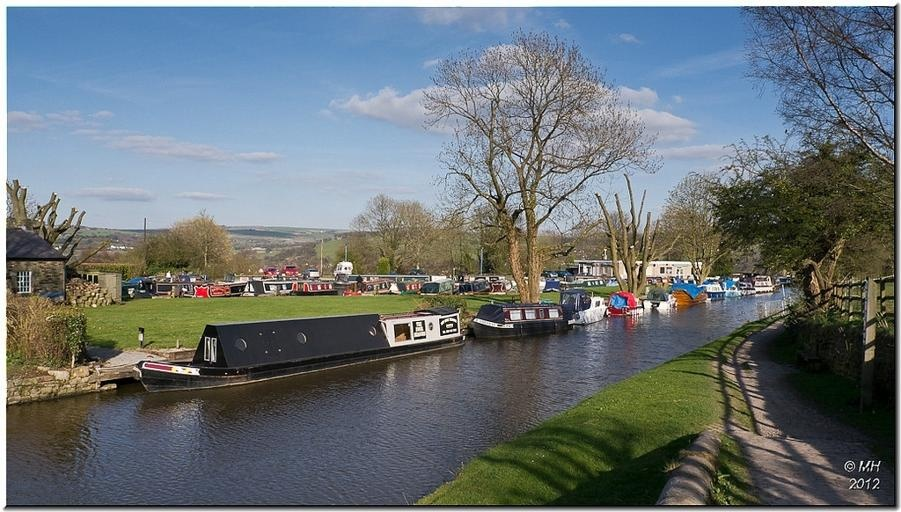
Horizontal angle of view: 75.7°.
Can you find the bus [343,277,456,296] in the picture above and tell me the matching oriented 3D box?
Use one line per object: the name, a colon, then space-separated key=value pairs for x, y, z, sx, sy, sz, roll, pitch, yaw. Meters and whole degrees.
bus: x=-6.479 y=3.826 z=73.327 sx=12.736 sy=1.670 sz=1.801 roll=-1 pitch=1 yaw=1
